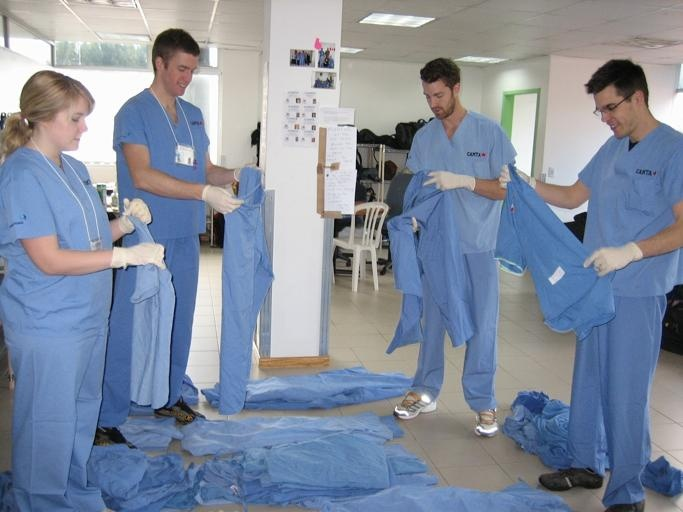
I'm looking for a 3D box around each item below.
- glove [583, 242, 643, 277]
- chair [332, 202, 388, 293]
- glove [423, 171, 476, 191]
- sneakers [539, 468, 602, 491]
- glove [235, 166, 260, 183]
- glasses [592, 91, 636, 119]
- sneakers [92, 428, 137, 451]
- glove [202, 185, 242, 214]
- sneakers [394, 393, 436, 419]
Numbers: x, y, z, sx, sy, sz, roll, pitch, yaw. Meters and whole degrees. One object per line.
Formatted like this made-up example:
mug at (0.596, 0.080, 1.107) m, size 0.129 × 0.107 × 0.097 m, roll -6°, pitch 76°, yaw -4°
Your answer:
glove at (1.398, 0.020, 2.870) m, size 0.120 × 0.185 × 0.255 m, roll -6°, pitch 11°, yaw -40°
chair at (0.227, -0.119, 7.228) m, size 0.587 × 1.143 × 0.657 m, roll 2°, pitch 3°, yaw 37°
glove at (0.714, -0.480, 3.616) m, size 0.325 × 0.118 × 0.131 m, roll 4°, pitch 9°, yaw 14°
sneakers at (1.357, 1.291, 3.329) m, size 0.373 × 0.163 × 0.139 m, roll 1°, pitch 8°, yaw 0°
glove at (-0.613, -0.511, 3.511) m, size 0.125 × 0.097 × 0.362 m, roll -3°, pitch 10°, yaw -29°
glasses at (1.437, -0.789, 2.922) m, size 0.179 × 0.054 × 0.177 m, roll -30°, pitch -1°, yaw -13°
sneakers at (-1.388, 1.091, 3.452) m, size 0.209 × 0.070 × 0.215 m, roll 43°, pitch -8°, yaw 16°
glove at (-0.703, -0.330, 3.288) m, size 0.232 × 0.155 × 0.118 m, roll -1°, pitch 9°, yaw -14°
sneakers at (0.520, 1.061, 4.032) m, size 0.331 × 0.165 × 0.133 m, roll -4°, pitch 8°, yaw -25°
